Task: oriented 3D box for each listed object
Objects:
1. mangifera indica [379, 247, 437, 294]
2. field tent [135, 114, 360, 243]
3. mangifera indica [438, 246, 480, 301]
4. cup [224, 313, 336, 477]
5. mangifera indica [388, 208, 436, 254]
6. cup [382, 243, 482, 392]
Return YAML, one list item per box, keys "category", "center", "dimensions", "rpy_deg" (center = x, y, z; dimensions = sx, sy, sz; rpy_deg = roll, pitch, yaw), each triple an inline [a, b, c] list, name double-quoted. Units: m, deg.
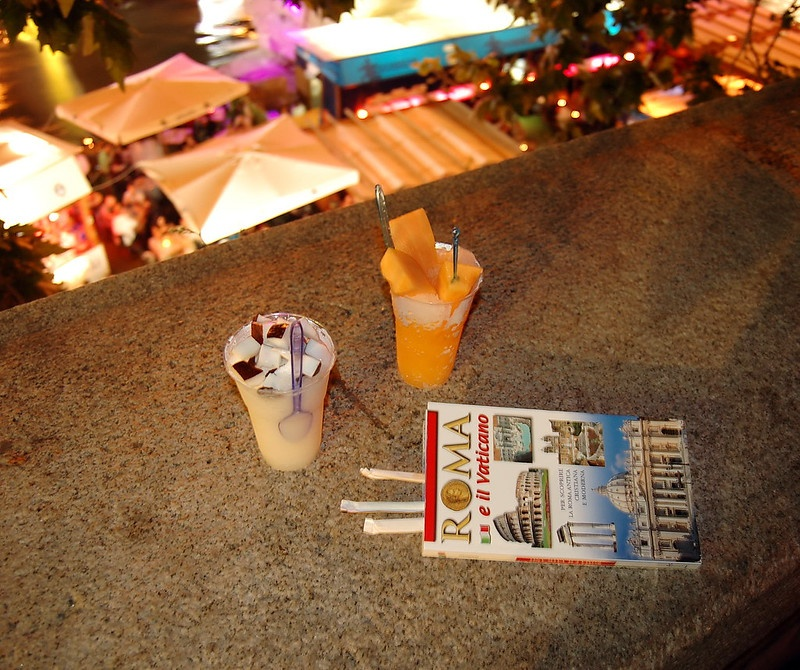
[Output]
- category: "mangifera indica"
  center: [0.012, -0.114, 1.365]
  dimensions: [0.080, 0.078, 0.103]
  rpy_deg: [-23, 50, -19]
- category: "field tent"
  center: [-0.831, -0.816, 4.218]
  dimensions: [1.000, 0.530, 0.872]
  rpy_deg: [-28, 52, -24]
- category: "mangifera indica"
  center: [0.109, -0.100, 1.375]
  dimensions: [0.080, 0.081, 0.075]
  rpy_deg: [1, 79, -25]
- category: "cup"
  center: [-0.223, 0.134, 1.426]
  dimensions: [0.213, 0.282, 0.198]
  rpy_deg: [1, 36, -1]
- category: "mangifera indica"
  center: [0.024, -0.205, 1.471]
  dimensions: [0.090, 0.084, 0.084]
  rpy_deg: [-17, 10, -2]
- category: "cup"
  center: [0.062, -0.027, 1.473]
  dimensions: [0.188, 0.242, 0.188]
  rpy_deg: [6, 43, -6]
